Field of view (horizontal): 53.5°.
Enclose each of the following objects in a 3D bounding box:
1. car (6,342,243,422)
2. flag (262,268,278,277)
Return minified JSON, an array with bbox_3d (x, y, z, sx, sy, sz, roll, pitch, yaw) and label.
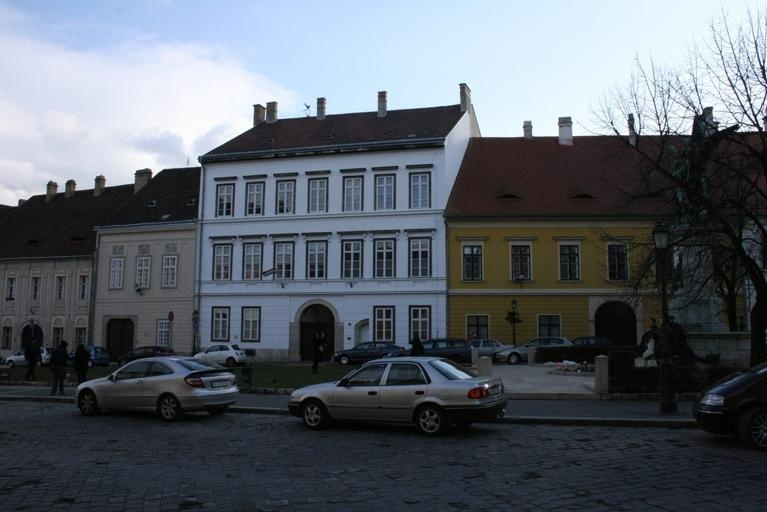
[{"bbox_3d":[-7.473,4.320,25.150,5.159,1.450,2.057,0,-8,15],"label":"car"},{"bbox_3d":[-7.864,1.231,53.017,0.994,0.482,0.284,-3,-50,-3],"label":"flag"}]
